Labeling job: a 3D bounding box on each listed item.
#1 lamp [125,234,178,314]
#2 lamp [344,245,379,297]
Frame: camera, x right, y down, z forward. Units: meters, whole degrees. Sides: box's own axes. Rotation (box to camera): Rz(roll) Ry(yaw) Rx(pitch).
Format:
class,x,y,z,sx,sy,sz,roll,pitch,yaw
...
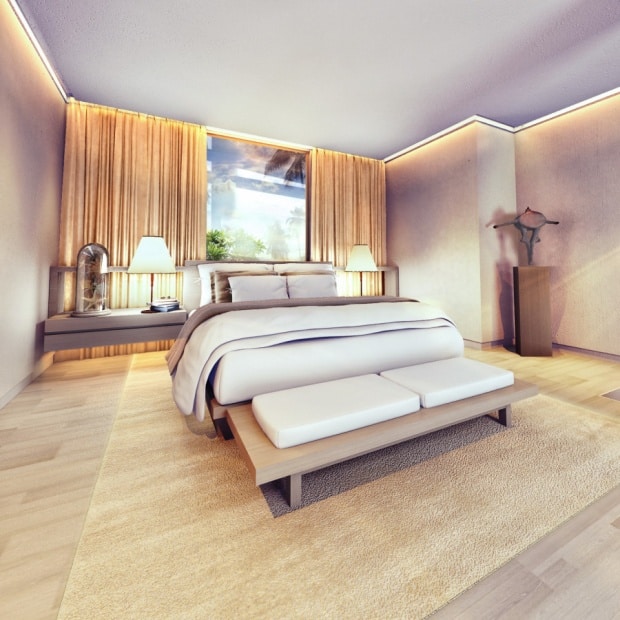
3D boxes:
class,x,y,z,sx,sy,sz,roll,pitch,yaw
lamp,-1.484,-0.342,4.087,0.429,0.727,0.429,23,25,37
lamp,0.581,-0.591,5.279,0.360,0.605,0.356,-2,3,-43
